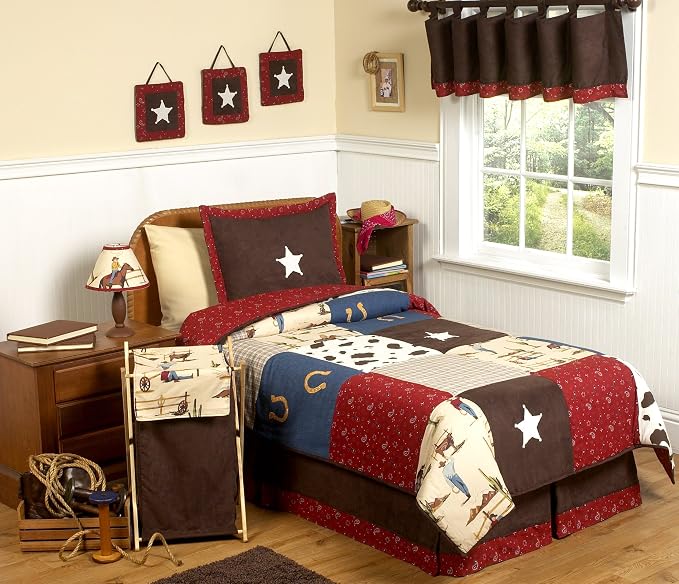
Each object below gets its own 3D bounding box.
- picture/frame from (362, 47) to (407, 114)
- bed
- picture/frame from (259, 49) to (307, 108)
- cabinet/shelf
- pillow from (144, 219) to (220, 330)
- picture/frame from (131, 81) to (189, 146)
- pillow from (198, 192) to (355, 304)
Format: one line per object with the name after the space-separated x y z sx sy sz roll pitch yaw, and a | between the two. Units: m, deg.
0.303 -1.403 4.219 0.041 0.488 0.477 -18 21 -40 | picture/frame
0.164 0.314 2.714 1.586 0.681 1.065 12 20 42 | bed
-0.391 -1.419 4.238 0.440 0.366 0.068 -13 18 -37 | picture/frame
0.371 -0.196 4.178 0.401 0.371 0.363 4 -6 11 | cabinet/shelf
-0.829 -0.084 3.386 0.568 0.463 0.267 -12 20 -36 | pillow
-1.071 -1.058 3.767 0.435 0.377 0.066 -10 18 -37 | picture/frame
-0.334 -0.220 3.489 0.831 0.544 0.119 -14 12 -36 | pillow
